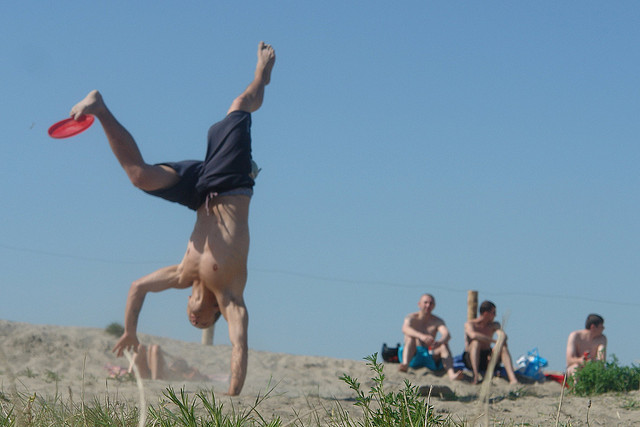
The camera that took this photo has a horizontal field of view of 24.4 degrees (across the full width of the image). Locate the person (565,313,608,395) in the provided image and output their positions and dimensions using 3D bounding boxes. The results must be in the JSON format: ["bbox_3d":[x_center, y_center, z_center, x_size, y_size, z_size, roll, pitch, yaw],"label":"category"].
[{"bbox_3d":[4.857,2.406,26.647,0.693,1.565,1.520,1,-20,10],"label":"person"}]

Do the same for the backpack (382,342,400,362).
[{"bbox_3d":[1.380,2.641,27.965,0.319,0.361,0.301,3,-19,3],"label":"backpack"}]
